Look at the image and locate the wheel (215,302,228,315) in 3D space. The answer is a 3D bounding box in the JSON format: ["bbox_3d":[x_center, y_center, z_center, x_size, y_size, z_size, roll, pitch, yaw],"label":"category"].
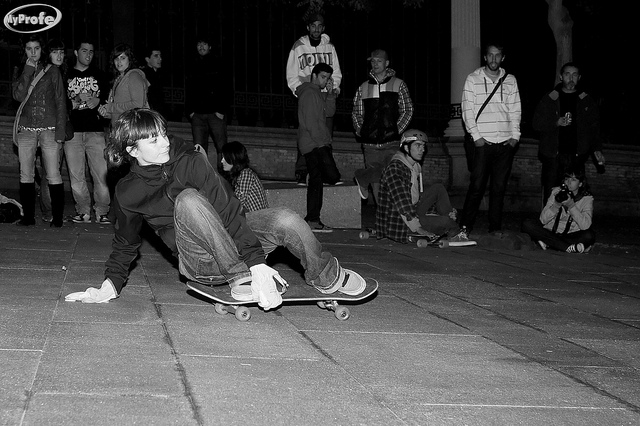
[{"bbox_3d":[-0.811,0.767,5.279,0.103,0.117,0.097,1,13,0],"label":"wheel"}]

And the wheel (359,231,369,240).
[{"bbox_3d":[0.683,0.330,9.944,0.118,0.109,0.141,18,10,36],"label":"wheel"}]

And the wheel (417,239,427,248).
[{"bbox_3d":[1.485,0.433,9.354,0.149,0.121,0.079,0,13,-7],"label":"wheel"}]

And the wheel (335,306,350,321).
[{"bbox_3d":[0.176,0.815,5.298,0.105,0.100,0.033,33,14,-31],"label":"wheel"}]

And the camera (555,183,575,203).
[{"bbox_3d":[3.719,-0.294,9.776,0.232,0.237,0.153,-29,19,-22],"label":"camera"}]

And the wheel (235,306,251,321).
[{"bbox_3d":[-0.609,0.790,5.155,0.108,0.097,0.110,28,-17,9],"label":"wheel"}]

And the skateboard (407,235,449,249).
[{"bbox_3d":[1.562,0.421,9.455,0.617,0.135,0.328,4,12,16],"label":"skateboard"}]

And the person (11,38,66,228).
[{"bbox_3d":[-4.095,-1.170,9.375,0.800,2.642,1.101,-4,15,-21],"label":"person"}]

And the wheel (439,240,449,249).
[{"bbox_3d":[1.820,0.443,9.421,0.154,0.119,0.103,0,13,-4],"label":"wheel"}]
